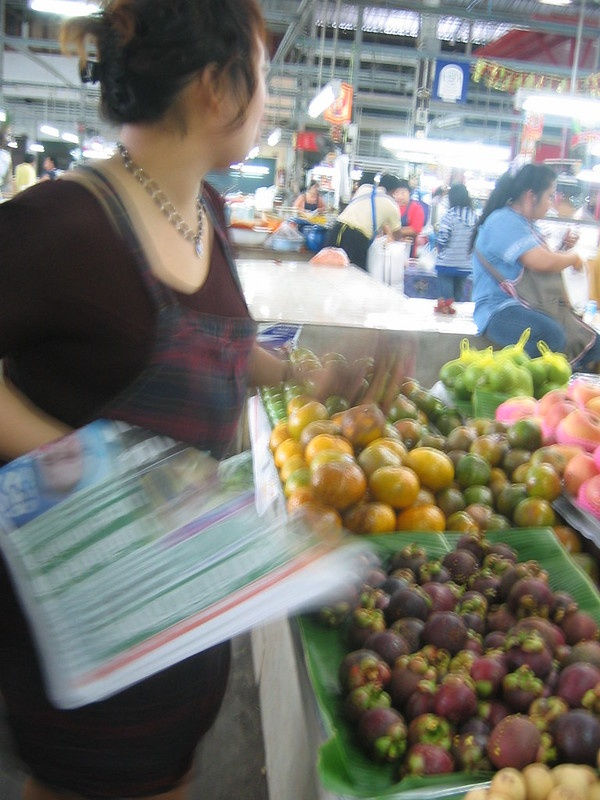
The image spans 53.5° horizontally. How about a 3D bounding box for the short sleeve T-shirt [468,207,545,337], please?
[{"bbox_3d":[1.347,-0.888,3.939,0.473,0.764,0.755,-5,11,4],"label":"short sleeve T-shirt"}]
